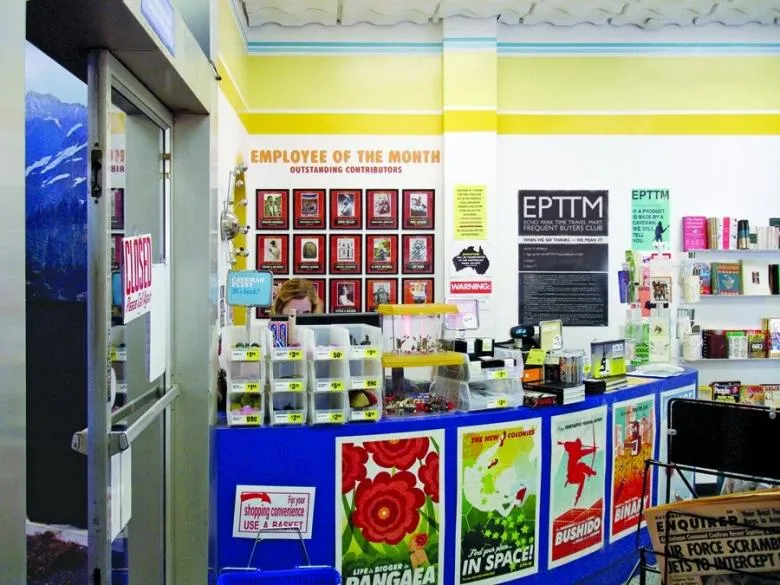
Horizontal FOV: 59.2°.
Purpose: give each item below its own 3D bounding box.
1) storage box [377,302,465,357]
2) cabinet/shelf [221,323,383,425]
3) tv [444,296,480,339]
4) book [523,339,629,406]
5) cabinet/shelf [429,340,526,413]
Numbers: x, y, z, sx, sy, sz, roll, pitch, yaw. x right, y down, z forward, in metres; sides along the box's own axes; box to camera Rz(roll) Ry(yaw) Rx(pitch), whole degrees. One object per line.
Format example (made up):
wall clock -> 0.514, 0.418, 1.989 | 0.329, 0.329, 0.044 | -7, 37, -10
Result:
storage box -> 0.160, 0.200, 4.135 | 0.449, 0.323, 0.280 | 0, 3, -12
cabinet/shelf -> -0.484, 0.439, 3.948 | 0.910, 0.586, 0.317 | -2, -1, -5
tv -> 0.551, 0.186, 5.195 | 0.088, 0.403, 0.376 | -4, -10, 33
book -> 1.251, 0.506, 4.567 | 0.877, 0.354, 0.316 | -2, 0, -44
cabinet/shelf -> 0.547, 0.483, 4.244 | 0.438, 0.448, 0.432 | 1, -3, -26
